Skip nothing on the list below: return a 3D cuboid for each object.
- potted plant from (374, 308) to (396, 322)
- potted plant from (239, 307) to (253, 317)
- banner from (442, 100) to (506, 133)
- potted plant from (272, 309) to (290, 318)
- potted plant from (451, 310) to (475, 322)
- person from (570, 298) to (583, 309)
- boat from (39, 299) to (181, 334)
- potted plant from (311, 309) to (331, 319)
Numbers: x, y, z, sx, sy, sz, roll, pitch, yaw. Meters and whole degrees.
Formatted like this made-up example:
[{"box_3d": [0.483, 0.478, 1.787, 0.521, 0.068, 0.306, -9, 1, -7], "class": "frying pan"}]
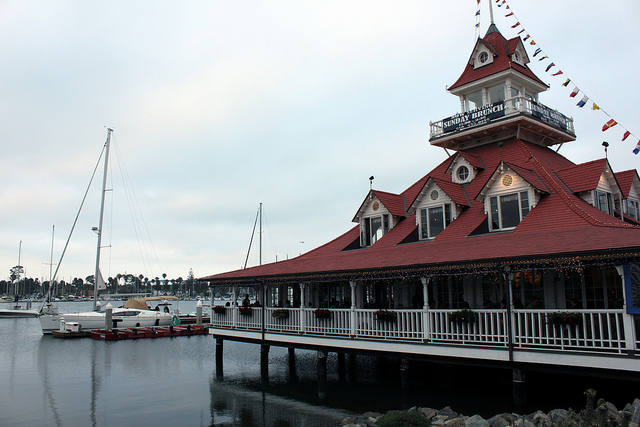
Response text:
[{"box_3d": [3.100, 4.712, 28.423, 0.903, 0.579, 0.376, -1, -13, 7], "class": "potted plant"}, {"box_3d": [-4.091, 5.500, 34.271, 0.295, 0.517, 1.093, 11, -17, -36], "class": "potted plant"}, {"box_3d": [8.767, -5.445, 34.555, 3.670, 1.251, 0.434, -10, -17, 39], "class": "banner"}, {"box_3d": [-2.027, 5.242, 32.290, 0.565, 0.378, 0.558, 3, -6, -12], "class": "potted plant"}, {"box_3d": [6.192, 4.410, 26.350, 0.525, 0.473, 0.717, 1, -5, -8], "class": "potted plant"}, {"box_3d": [11.219, 3.874, 26.780, 0.411, 0.483, 1.099, -6, -15, 29], "class": "person"}, {"box_3d": [-19.757, 10.024, 58.923, 12.586, 3.344, 3.908, 10, -15, -37], "class": "boat"}, {"box_3d": [0.166, 4.990, 30.560, 0.952, 0.475, 0.276, -12, -19, 43], "class": "potted plant"}]
